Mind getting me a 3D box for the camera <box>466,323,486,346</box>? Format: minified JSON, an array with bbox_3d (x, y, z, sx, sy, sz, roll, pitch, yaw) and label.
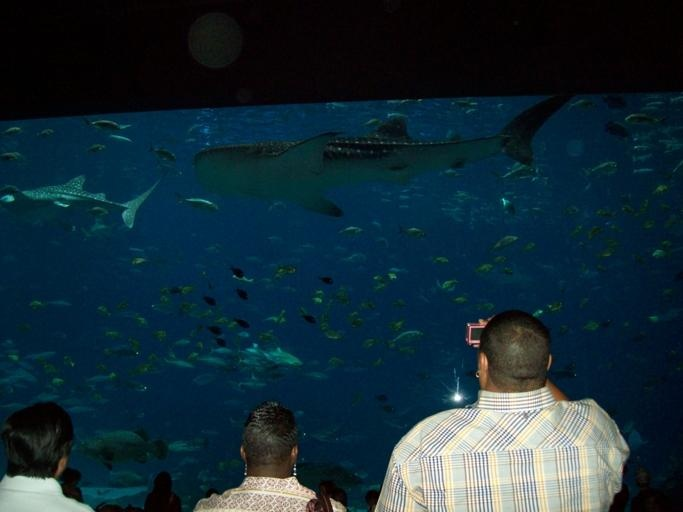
[{"bbox_3d":[3.439,2.038,19.875,0.809,0.499,0.184,2,-11,0],"label":"camera"}]
